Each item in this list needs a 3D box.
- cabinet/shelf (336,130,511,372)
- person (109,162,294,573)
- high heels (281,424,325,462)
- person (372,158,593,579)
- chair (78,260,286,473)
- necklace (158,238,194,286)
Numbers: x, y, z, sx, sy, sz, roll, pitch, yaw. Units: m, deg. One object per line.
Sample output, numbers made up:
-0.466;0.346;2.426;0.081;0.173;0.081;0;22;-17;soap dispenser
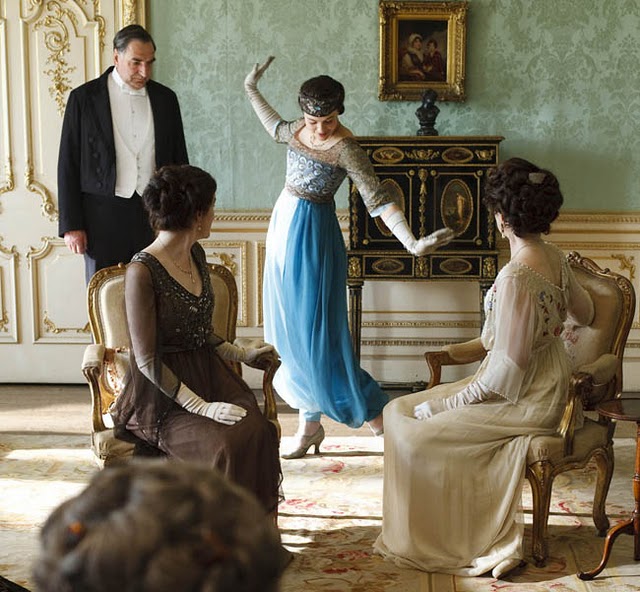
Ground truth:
0.634;-0.277;6.046;0.972;1.438;0.514;0;8;2;cabinet/shelf
-0.432;0.293;3.575;0.658;1.442;0.757;-9;14;-43;person
-0.088;0.709;4.700;0.230;0.135;0.108;-9;10;-17;high heels
0.575;0.247;3.572;0.711;1.487;0.535;2;12;9;person
-0.608;0.320;3.865;0.806;1.005;0.624;-1;-1;-23;chair
-0.530;-0.130;3.548;0.103;0.169;0.043;-9;-14;-45;necklace
